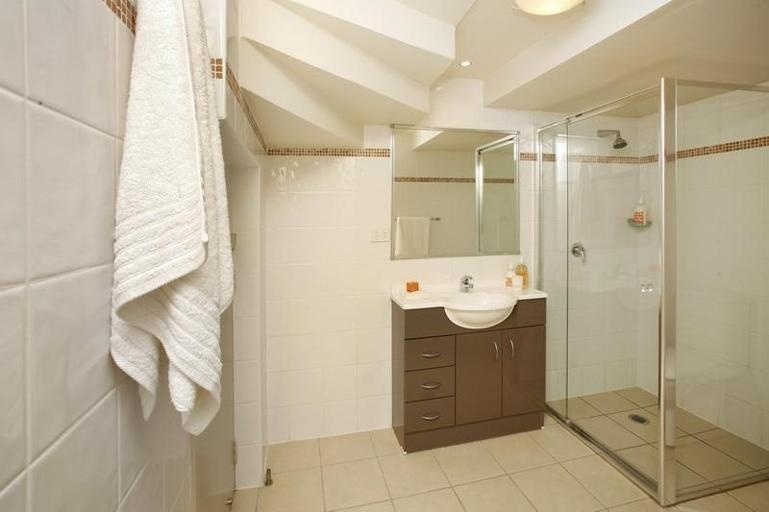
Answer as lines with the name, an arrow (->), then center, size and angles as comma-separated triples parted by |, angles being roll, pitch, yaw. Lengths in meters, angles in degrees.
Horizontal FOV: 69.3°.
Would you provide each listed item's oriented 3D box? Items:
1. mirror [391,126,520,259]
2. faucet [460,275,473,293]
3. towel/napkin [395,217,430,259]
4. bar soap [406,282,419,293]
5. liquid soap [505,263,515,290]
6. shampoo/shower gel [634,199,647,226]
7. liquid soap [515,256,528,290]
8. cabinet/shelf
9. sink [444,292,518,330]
mirror -> 0.470, -0.479, 3.995 | 0.956, 0.923, 0.018 | -1, 5, -14
faucet -> 0.605, 0.198, 4.012 | 0.081, 0.113, 0.154 | 4, 10, 33
towel/napkin -> 0.193, -0.133, 3.959 | 0.289, 0.303, 0.052 | 0, 4, -13
bar soap -> 0.196, 0.219, 3.820 | 0.068, 0.069, 0.064 | -2, -5, 1
liquid soap -> 0.916, 0.153, 4.063 | 0.060, 0.158, 0.200 | 0, 8, 12
shampoo/shower gel -> 1.526, -0.258, 3.324 | 0.025, 0.143, 0.100 | -3, 8, -14
liquid soap -> 1.005, 0.141, 4.068 | 0.105, 0.205, 0.270 | 1, 8, 14
cabinet/shelf -> 0.717, 0.863, 3.868 | 1.073, 0.947, 0.418 | -16, -36, 33
sink -> 0.615, 0.377, 3.726 | 0.472, 0.203, 0.395 | 2, 12, 20
